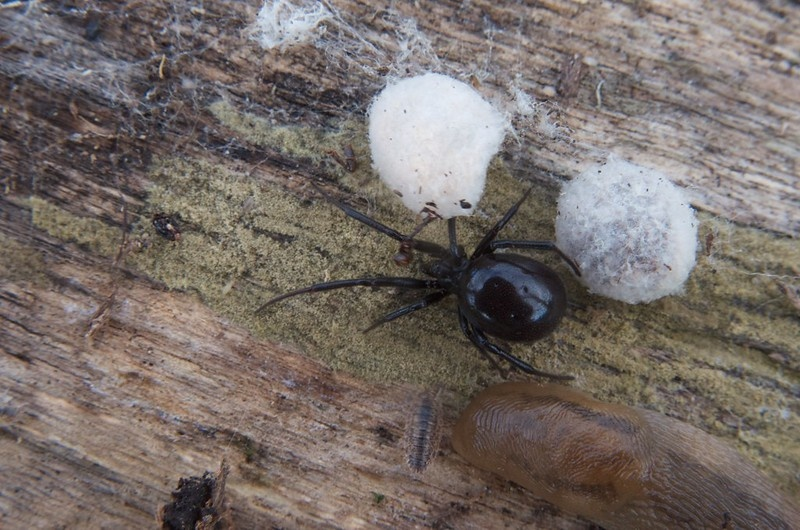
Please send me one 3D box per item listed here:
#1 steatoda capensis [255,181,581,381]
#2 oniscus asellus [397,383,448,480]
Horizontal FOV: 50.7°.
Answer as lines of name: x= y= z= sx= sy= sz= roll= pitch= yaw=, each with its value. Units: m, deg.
steatoda capensis: x=0.619 y=0.219 z=8.059 sx=2.280 sy=1.069 sz=1.084 roll=10 pitch=46 yaw=8
oniscus asellus: x=0.215 y=1.498 z=7.844 sx=0.577 sy=0.506 sz=0.649 roll=-1 pitch=82 yaw=28
